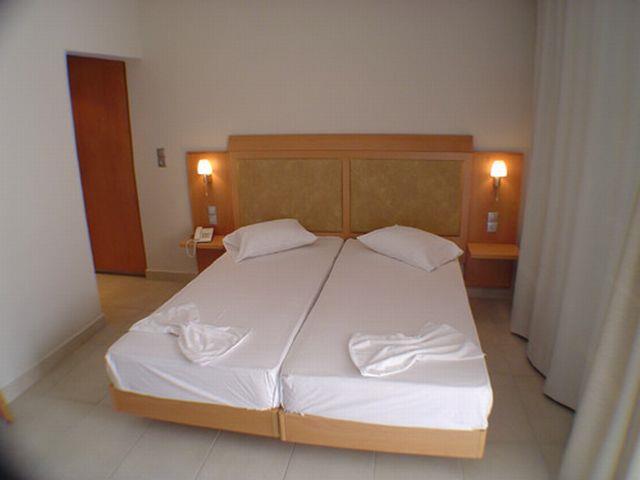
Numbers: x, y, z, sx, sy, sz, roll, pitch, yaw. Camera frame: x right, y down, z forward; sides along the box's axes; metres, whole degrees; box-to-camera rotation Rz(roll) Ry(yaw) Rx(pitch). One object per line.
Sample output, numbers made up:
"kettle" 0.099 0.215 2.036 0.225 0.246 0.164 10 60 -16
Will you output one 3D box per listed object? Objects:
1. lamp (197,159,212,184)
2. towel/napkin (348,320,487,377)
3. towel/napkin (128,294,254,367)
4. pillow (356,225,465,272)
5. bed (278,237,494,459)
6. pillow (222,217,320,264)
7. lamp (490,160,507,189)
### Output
"lamp" -1.111 -0.659 4.664 0.146 0.239 0.146 -3 14 -8
"towel/napkin" 0.568 0.648 2.919 0.763 0.054 0.538 -4 6 9
"towel/napkin" -0.753 0.574 3.035 0.501 0.063 0.349 15 23 36
"pillow" 0.734 0.044 4.082 0.581 0.185 0.432 21 26 37
"bed" 0.495 0.829 3.222 1.176 0.842 1.285 3 14 16
"pillow" -0.466 -0.059 4.327 0.608 0.171 0.412 -11 36 -21
"lamp" 1.570 -0.570 4.243 0.151 0.261 0.129 4 15 19
